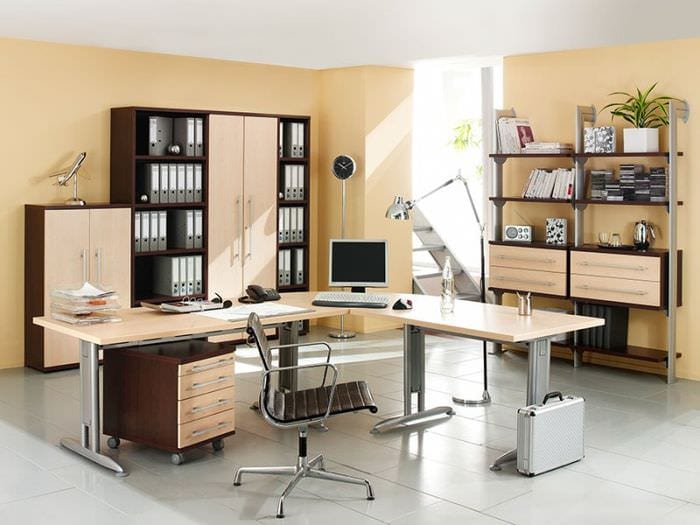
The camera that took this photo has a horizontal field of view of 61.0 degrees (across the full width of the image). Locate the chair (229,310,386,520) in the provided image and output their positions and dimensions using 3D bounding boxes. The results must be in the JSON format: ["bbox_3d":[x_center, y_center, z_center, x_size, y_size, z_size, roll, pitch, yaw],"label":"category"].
[{"bbox_3d":[-0.298,0.860,3.919,1.095,1.262,1.066,0,4,-4],"label":"chair"}]

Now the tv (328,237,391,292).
[{"bbox_3d":[0.066,0.015,5.054,0.677,0.531,0.076,0,-7,1],"label":"tv"}]

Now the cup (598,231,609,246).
[{"bbox_3d":[2.561,-0.251,5.999,0.123,0.134,0.122,0,1,0],"label":"cup"}]

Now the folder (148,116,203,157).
[{"bbox_3d":[-1.895,-1.360,6.399,0.509,0.419,0.284,-2,3,-41],"label":"folder"}]

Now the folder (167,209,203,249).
[{"bbox_3d":[-1.761,-0.392,6.665,0.491,0.500,0.304,3,5,41],"label":"folder"}]

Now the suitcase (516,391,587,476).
[{"bbox_3d":[1.279,1.113,3.791,0.501,0.417,0.159,-4,8,-39],"label":"suitcase"}]

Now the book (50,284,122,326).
[{"bbox_3d":[-1.779,0.278,3.991,0.317,0.213,0.307,-1,3,-40],"label":"book"}]

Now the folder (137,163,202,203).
[{"bbox_3d":[-1.884,-0.855,6.429,0.592,0.433,0.157,-4,8,-37],"label":"folder"}]

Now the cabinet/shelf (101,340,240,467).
[{"bbox_3d":[-1.057,0.914,4.134,0.944,0.831,0.632,0,0,36],"label":"cabinet/shelf"}]

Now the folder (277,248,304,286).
[{"bbox_3d":[-0.718,0.036,7.517,0.398,0.528,0.530,-1,4,-18],"label":"folder"}]

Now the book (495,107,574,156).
[{"bbox_3d":[1.937,-1.308,6.344,0.619,0.366,0.624,6,8,37],"label":"book"}]

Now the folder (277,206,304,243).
[{"bbox_3d":[-0.753,-0.470,7.300,0.271,0.435,0.471,1,2,43],"label":"folder"}]

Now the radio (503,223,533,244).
[{"bbox_3d":[1.838,-0.304,6.507,0.201,0.238,0.350,0,0,-45],"label":"radio"}]

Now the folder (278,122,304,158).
[{"bbox_3d":[-0.722,-1.520,7.285,0.356,0.457,0.202,-2,7,-23],"label":"folder"}]

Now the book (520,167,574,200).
[{"bbox_3d":[2.075,-0.809,6.208,0.356,0.252,0.473,7,7,43],"label":"book"}]

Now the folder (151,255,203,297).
[{"bbox_3d":[-1.871,0.117,6.567,0.479,0.451,0.470,-3,5,-42],"label":"folder"}]

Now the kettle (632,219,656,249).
[{"bbox_3d":[2.858,-0.277,5.791,0.168,0.274,0.288,5,8,34],"label":"kettle"}]

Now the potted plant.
[{"bbox_3d":[2.894,-1.406,5.876,0.691,0.511,0.681,-2,4,-42],"label":"potted plant"}]

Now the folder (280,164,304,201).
[{"bbox_3d":[-0.708,-0.983,7.315,0.321,0.431,0.124,-1,7,-14],"label":"folder"}]

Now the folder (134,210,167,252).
[{"bbox_3d":[-2.174,-0.319,6.499,0.375,0.477,0.498,-1,3,-29],"label":"folder"}]
